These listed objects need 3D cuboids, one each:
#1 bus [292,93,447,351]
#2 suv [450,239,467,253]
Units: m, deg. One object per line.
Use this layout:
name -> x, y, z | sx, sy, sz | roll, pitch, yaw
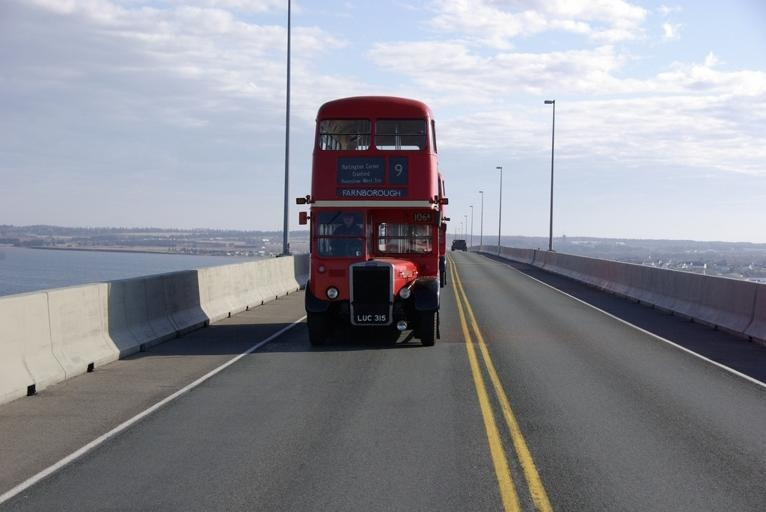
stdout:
bus -> -0.203, -0.828, 15.124 | 3.421, 6.546, 2.805 | 1, 8, 8
suv -> 15.213, -1.958, 115.673 | 2.143, 1.620, 3.357 | 0, -6, 4
